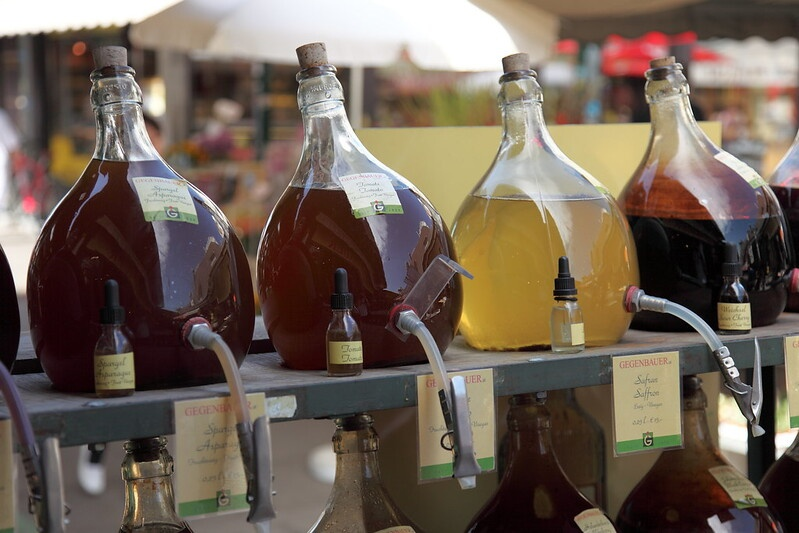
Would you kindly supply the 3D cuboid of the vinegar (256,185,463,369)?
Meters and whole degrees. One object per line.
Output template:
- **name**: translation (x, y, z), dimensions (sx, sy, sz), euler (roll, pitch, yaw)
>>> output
- **vinegar**: translation (-0.065, 0.013, 1.457), dimensions (0.305, 0.290, 0.109), euler (-4, 3, -9)

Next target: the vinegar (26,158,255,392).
- **vinegar**: translation (-0.406, -0.019, 1.464), dimensions (0.348, 0.458, 0.290), euler (-2, -4, -36)

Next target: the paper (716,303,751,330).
- **paper**: translation (0.581, 0.086, 1.596), dimensions (0.079, 0.050, 0.039), euler (-5, 3, -21)

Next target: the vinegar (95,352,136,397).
- **vinegar**: translation (-0.396, 0.150, 1.297), dimensions (0.059, 0.062, 0.058), euler (-3, -4, 1)

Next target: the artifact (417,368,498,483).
- **artifact**: translation (0.089, 0.238, 1.408), dimensions (0.138, 0.161, 0.036), euler (-5, 3, -27)

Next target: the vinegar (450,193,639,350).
- **vinegar**: translation (0.238, -0.001, 1.516), dimensions (0.267, 0.250, 0.263), euler (-25, 8, -8)

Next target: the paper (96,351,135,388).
- **paper**: translation (-0.394, 0.144, 1.299), dimensions (0.052, 0.051, 0.049), euler (-1, -5, 1)
